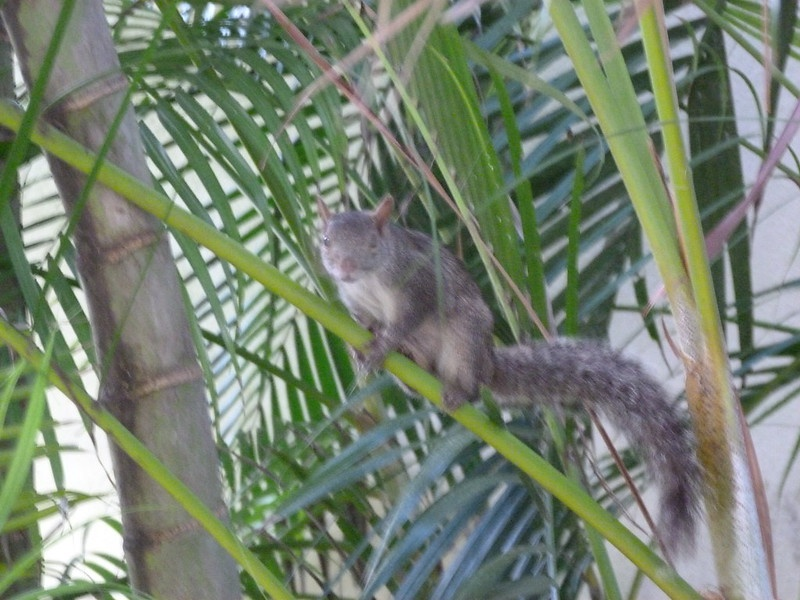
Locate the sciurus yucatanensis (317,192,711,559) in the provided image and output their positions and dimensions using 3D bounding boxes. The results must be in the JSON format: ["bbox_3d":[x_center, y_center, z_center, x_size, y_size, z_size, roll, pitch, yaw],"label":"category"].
[{"bbox_3d":[0.242,0.159,2.214,0.241,1.001,0.466,-13,-47,-41],"label":"sciurus yucatanensis"}]
